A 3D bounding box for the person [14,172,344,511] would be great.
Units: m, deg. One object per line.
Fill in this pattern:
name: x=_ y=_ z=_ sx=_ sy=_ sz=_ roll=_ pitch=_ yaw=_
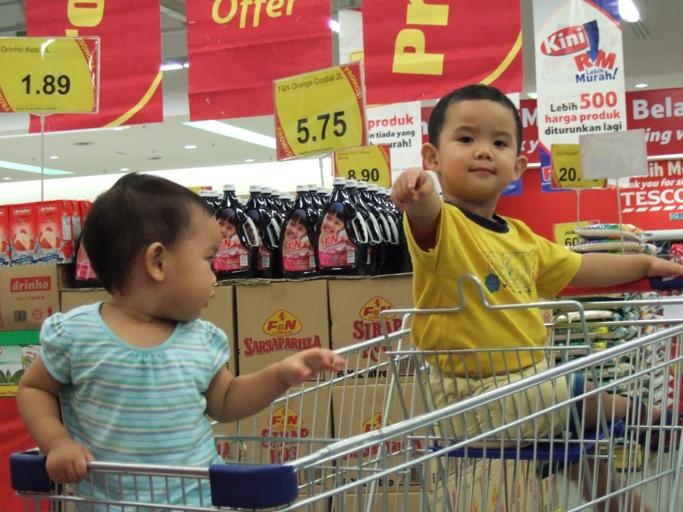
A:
person: x=-0.439 y=0.198 z=1.758 sx=0.648 sy=0.833 sz=0.382 roll=-3 pitch=-2 yaw=-25
